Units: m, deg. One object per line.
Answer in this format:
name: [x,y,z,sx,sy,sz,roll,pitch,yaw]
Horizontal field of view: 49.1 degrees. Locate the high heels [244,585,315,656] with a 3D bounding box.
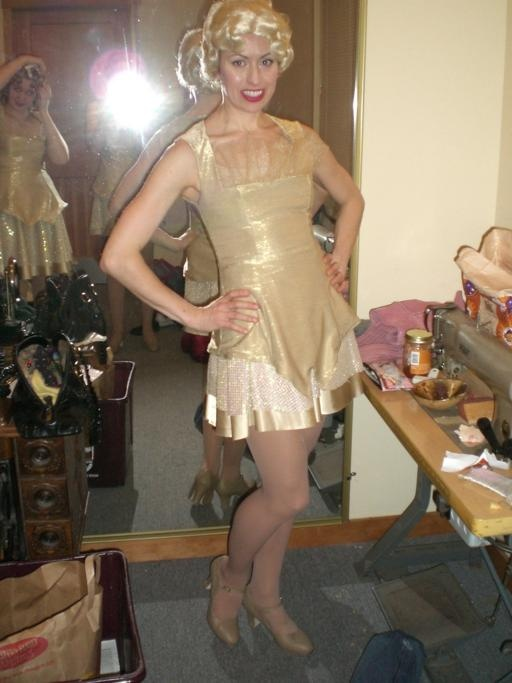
high heels: [0.059,0.773,1.537,0.213,0.107,0.071,35,42,10]

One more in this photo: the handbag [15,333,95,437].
handbag: [-0.512,0.131,1.395,0.190,0.255,0.084,0,-23,-29]

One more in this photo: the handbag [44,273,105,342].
handbag: [-0.529,-0.099,1.618,0.196,0.177,0.045,-3,17,-13]

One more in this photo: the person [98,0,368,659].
person: [0.026,0.109,1.300,0.389,1.561,0.580,8,21,27]

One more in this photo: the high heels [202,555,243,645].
high heels: [-0.077,0.688,1.554,0.089,0.250,0.110,5,-27,-34]
